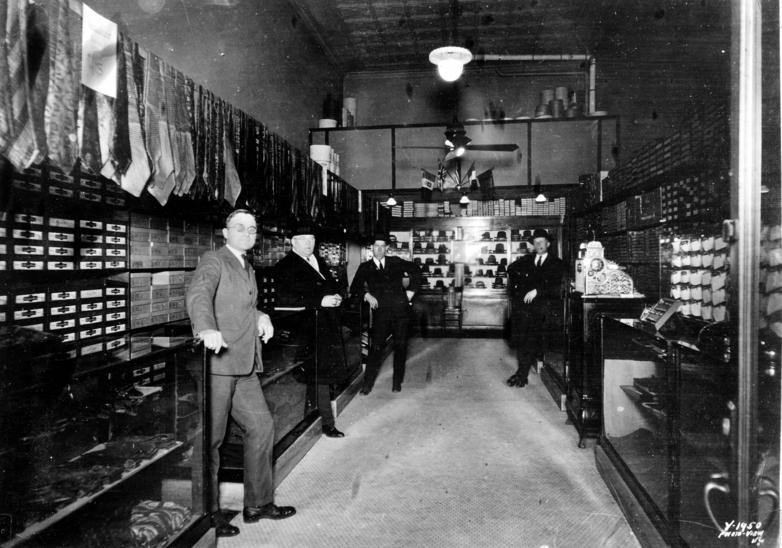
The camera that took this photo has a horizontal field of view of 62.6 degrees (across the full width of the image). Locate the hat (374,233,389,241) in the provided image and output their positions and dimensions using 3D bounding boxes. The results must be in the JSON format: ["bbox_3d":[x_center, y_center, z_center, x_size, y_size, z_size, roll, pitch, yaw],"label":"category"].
[{"bbox_3d":[-0.108,-0.380,6.584,0.092,0.066,0.094,0,5,0],"label":"hat"}]

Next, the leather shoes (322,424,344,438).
[{"bbox_3d":[-0.486,1.307,5.388,0.187,0.079,0.080,1,-1,7],"label":"leather shoes"}]

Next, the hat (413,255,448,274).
[{"bbox_3d":[0.674,-0.194,11.125,0.451,0.128,0.321,-5,10,-24],"label":"hat"}]

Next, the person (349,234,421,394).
[{"bbox_3d":[-0.045,0.423,6.740,0.806,1.677,0.612,-11,15,-42],"label":"person"}]

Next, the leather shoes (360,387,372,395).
[{"bbox_3d":[-0.254,1.184,6.584,0.058,0.072,0.165,0,-9,5],"label":"leather shoes"}]

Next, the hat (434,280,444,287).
[{"bbox_3d":[0.838,0.158,11.072,0.104,0.105,0.073,-2,-10,4],"label":"hat"}]

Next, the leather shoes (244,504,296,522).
[{"bbox_3d":[-0.785,1.524,4.204,0.308,0.146,0.122,-2,-3,-9],"label":"leather shoes"}]

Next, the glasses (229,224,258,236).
[{"bbox_3d":[-0.924,-0.289,4.100,0.172,0.060,0.084,-10,15,-37],"label":"glasses"}]

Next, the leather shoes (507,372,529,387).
[{"bbox_3d":[1.375,1.112,6.929,0.248,0.174,0.249,0,12,5],"label":"leather shoes"}]

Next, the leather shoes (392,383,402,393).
[{"bbox_3d":[0.058,1.173,6.693,0.084,0.046,0.114,-1,-1,-3],"label":"leather shoes"}]

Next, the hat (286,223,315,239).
[{"bbox_3d":[-0.829,-0.401,5.846,0.239,0.098,0.258,-3,3,-45],"label":"hat"}]
